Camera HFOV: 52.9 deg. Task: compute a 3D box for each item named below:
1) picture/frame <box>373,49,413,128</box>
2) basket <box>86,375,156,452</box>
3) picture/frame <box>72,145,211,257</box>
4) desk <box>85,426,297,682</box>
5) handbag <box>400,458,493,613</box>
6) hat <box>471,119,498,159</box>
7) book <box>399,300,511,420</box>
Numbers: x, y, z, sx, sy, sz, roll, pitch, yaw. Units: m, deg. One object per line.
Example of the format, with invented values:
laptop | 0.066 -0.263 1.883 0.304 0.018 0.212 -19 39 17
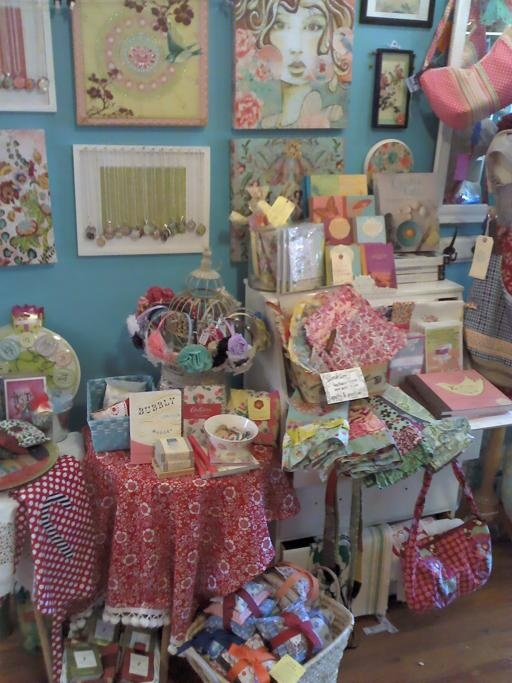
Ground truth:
picture/frame | 0.504 -0.924 1.868 0.026 0.247 0.145 -27 39 -32
basket | -0.420 0.201 1.548 0.213 0.125 0.203 -5 40 -10
picture/frame | -0.394 -0.476 1.687 0.416 0.313 0.018 -5 21 -19
desk | -0.152 0.583 1.488 0.539 0.477 0.521 1 32 -1
handbag | 0.600 0.599 1.621 0.328 0.445 0.119 -13 15 -17
hat | 0.850 -0.760 1.935 0.075 0.122 0.048 18 11 -6
book | 0.661 0.052 1.685 0.332 0.325 0.318 -3 12 -19
